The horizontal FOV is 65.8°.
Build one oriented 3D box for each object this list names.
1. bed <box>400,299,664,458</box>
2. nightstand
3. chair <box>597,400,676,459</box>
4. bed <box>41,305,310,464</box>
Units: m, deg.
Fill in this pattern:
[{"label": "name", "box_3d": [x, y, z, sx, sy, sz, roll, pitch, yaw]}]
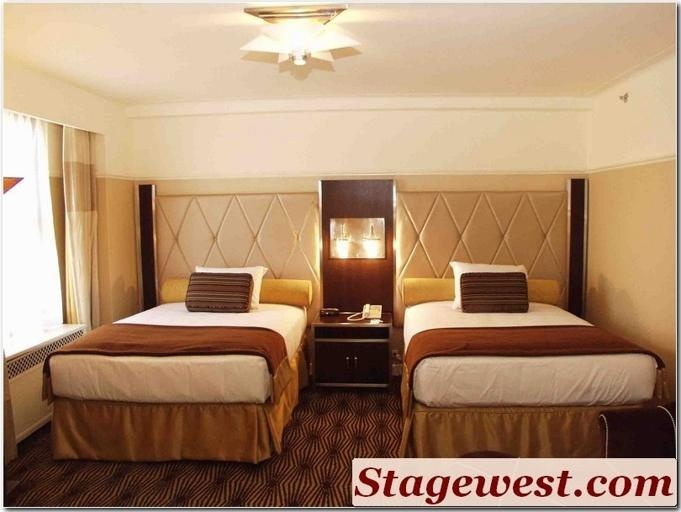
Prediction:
[{"label": "bed", "box_3d": [1.390, 1.078, 4.358, 1.910, 0.927, 1.107, 0, 5, -6]}, {"label": "nightstand", "box_3d": [0.116, 0.929, 5.454, 0.798, 0.623, 0.613, 0, -1, 4]}, {"label": "chair", "box_3d": [1.948, 1.160, 3.592, 0.552, 0.403, 0.319, -2, -13, 0]}, {"label": "bed", "box_3d": [-1.376, 1.103, 4.569, 1.883, 0.986, 0.960, 1, 6, 3]}]
